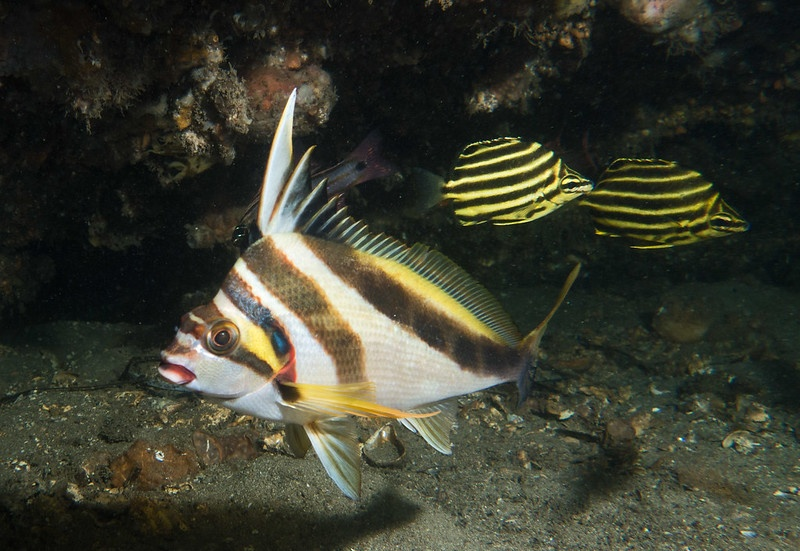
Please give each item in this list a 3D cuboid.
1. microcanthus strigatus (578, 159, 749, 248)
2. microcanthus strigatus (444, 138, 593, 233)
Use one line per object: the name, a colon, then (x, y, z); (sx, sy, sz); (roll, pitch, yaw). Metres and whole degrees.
microcanthus strigatus: (2.682, -0.634, 8.466); (1.174, 1.389, 0.974); (9, 106, 36)
microcanthus strigatus: (1.040, -0.861, 8.405); (1.798, 1.030, 0.388); (-10, 40, -7)
